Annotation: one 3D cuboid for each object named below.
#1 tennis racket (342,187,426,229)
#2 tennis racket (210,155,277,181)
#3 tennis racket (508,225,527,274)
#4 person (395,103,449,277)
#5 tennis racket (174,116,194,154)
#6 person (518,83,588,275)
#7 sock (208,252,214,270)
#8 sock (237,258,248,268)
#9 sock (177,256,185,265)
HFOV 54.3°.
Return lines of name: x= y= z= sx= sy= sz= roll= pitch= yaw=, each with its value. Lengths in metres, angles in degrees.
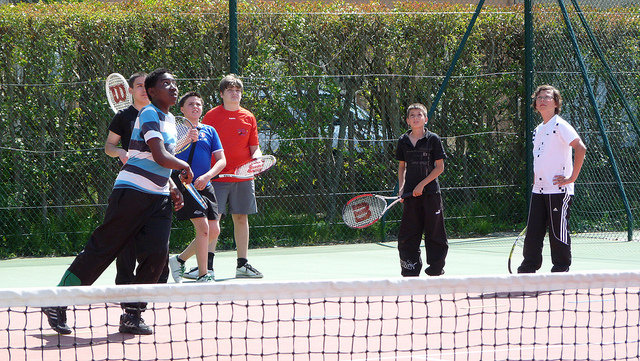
tennis racket: x=1.005 y=0.289 z=8.947 sx=1.678 sy=0.477 sz=0.158 roll=-19 pitch=0 yaw=-36
tennis racket: x=-0.996 y=-0.171 z=8.350 sx=0.877 sy=0.072 sz=0.344 roll=-20 pitch=17 yaw=-17
tennis racket: x=2.991 y=1.059 z=9.442 sx=0.099 sy=0.616 sz=0.345 roll=27 pitch=-18 yaw=-23
person: x=1.339 y=0.151 z=8.154 sx=0.645 sy=2.275 sz=0.554 roll=0 pitch=9 yaw=5
tennis racket: x=-1.671 y=-0.556 z=7.598 sx=0.396 sy=0.496 sz=0.096 roll=-1 pitch=2 yaw=-37
person: x=2.952 y=0.001 z=7.909 sx=0.694 sy=2.369 sz=0.601 roll=3 pitch=9 yaw=24
sock: x=-1.482 y=1.074 z=8.405 sx=0.055 sy=0.234 sz=0.096 roll=0 pitch=9 yaw=1
sock: x=-1.076 y=1.134 z=8.660 sx=0.127 sy=0.116 sz=0.105 roll=8 pitch=-10 yaw=-14
sock: x=-1.874 y=1.085 z=8.406 sx=0.078 sy=0.040 sz=0.059 roll=27 pitch=3 yaw=-12
